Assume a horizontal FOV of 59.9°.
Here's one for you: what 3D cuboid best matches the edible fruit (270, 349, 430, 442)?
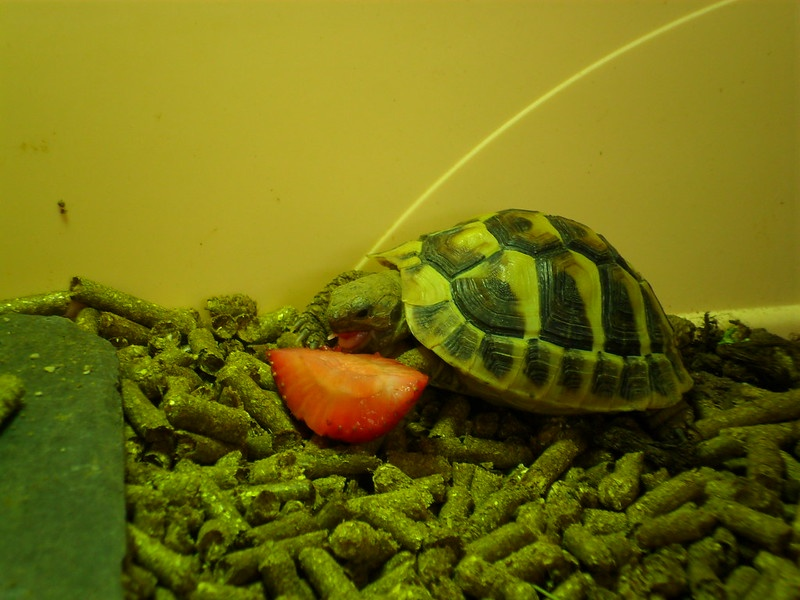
[{"bbox_3d":[-0.163,0.268,2.051,0.337,0.122,0.270,8,20,6],"label":"edible fruit"}]
